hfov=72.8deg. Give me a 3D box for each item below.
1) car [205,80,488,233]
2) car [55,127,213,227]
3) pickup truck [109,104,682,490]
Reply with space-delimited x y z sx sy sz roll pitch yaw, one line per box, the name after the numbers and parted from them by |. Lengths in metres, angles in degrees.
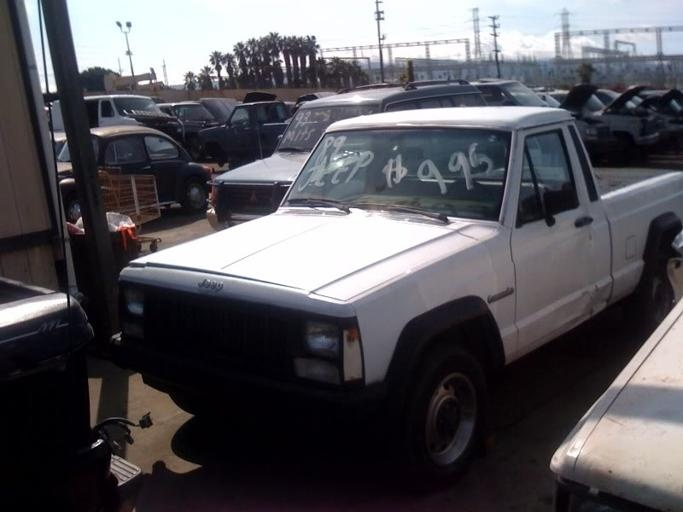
0.120 -1.879 7.693 4.285 2.106 2.145 -16 19 -40 | car
-5.128 -1.896 10.617 2.048 2.067 4.072 8 18 30 | car
0.890 -0.008 3.665 1.999 1.679 4.112 4 12 41 | pickup truck
